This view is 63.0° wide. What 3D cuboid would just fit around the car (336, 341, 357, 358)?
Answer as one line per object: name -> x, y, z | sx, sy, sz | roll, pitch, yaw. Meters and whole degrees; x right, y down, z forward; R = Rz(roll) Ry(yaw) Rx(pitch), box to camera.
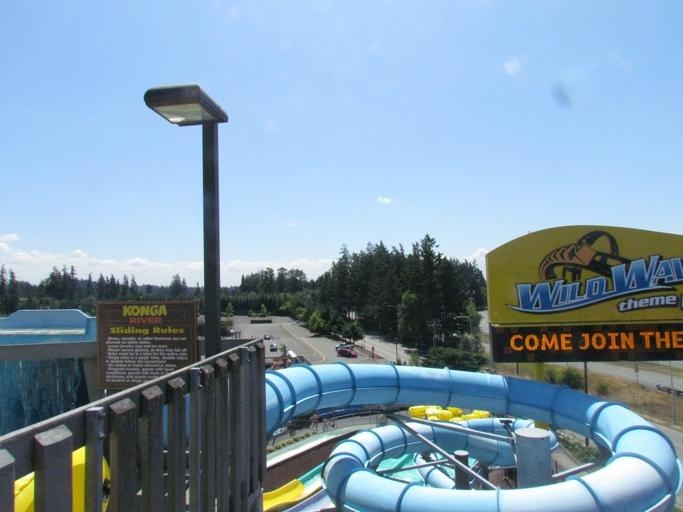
car -> 0.582, 10.020, 59.351 | 1.991, 1.134, 4.393 | 0, -7, -5
